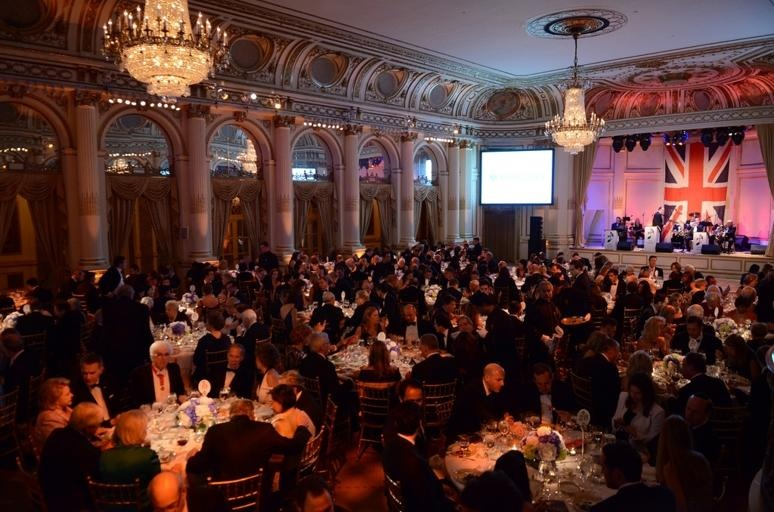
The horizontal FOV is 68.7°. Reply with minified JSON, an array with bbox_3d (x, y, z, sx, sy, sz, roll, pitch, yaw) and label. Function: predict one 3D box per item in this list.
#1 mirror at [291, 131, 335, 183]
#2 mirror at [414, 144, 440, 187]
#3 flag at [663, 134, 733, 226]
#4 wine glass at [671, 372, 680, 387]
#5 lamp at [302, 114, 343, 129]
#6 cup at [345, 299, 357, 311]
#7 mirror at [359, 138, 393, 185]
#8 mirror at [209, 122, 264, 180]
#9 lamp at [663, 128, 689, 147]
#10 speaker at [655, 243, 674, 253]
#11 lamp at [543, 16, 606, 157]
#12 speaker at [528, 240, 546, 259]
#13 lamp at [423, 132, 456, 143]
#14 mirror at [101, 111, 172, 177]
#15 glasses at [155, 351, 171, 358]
[{"bbox_3d":[-3.321,-4.178,24.707,1.990,2.402,0.047,0,-15,-14],"label":"mirror"},{"bbox_3d":[1.426,-3.644,22.946,1.101,1.693,0.515,1,4,-4],"label":"mirror"},{"bbox_3d":[12.516,-2.876,23.044,2.463,3.813,0.063,2,37,27],"label":"flag"},{"bbox_3d":[4.354,1.856,8.576,0.140,0.173,0.147,0,0,3],"label":"wine glass"},{"bbox_3d":[-2.119,-4.311,18.493,1.573,0.316,0.341,-5,8,-39],"label":"lamp"},{"bbox_3d":[-0.805,1.087,12.419,0.243,0.185,0.254,1,-8,0],"label":"cup"},{"bbox_3d":[-0.683,-4.058,25.326,1.604,1.966,0.048,-1,42,-3],"label":"mirror"},{"bbox_3d":[-6.158,-4.136,22.636,1.940,2.332,0.077,4,-19,-28],"label":"mirror"},{"bbox_3d":[11.290,-4.548,22.163,0.650,0.365,0.809,3,26,40],"label":"lamp"},{"bbox_3d":[10.244,-0.327,21.019,0.405,0.298,0.385,5,15,33],"label":"speaker"},{"bbox_3d":[5.167,-4.540,15.145,1.285,3.483,1.339,-5,12,5],"label":"lamp"},{"bbox_3d":[5.536,-0.275,21.017,0.631,0.973,0.660,1,3,23],"label":"speaker"},{"bbox_3d":[2.039,-4.600,22.034,1.585,0.436,0.506,-3,7,-28],"label":"lamp"},{"bbox_3d":[-8.959,-3.995,20.365,2.405,2.464,0.167,-9,18,-41],"label":"mirror"},{"bbox_3d":[-3.242,1.430,8.240,0.065,0.107,0.207,5,8,40],"label":"glasses"}]
